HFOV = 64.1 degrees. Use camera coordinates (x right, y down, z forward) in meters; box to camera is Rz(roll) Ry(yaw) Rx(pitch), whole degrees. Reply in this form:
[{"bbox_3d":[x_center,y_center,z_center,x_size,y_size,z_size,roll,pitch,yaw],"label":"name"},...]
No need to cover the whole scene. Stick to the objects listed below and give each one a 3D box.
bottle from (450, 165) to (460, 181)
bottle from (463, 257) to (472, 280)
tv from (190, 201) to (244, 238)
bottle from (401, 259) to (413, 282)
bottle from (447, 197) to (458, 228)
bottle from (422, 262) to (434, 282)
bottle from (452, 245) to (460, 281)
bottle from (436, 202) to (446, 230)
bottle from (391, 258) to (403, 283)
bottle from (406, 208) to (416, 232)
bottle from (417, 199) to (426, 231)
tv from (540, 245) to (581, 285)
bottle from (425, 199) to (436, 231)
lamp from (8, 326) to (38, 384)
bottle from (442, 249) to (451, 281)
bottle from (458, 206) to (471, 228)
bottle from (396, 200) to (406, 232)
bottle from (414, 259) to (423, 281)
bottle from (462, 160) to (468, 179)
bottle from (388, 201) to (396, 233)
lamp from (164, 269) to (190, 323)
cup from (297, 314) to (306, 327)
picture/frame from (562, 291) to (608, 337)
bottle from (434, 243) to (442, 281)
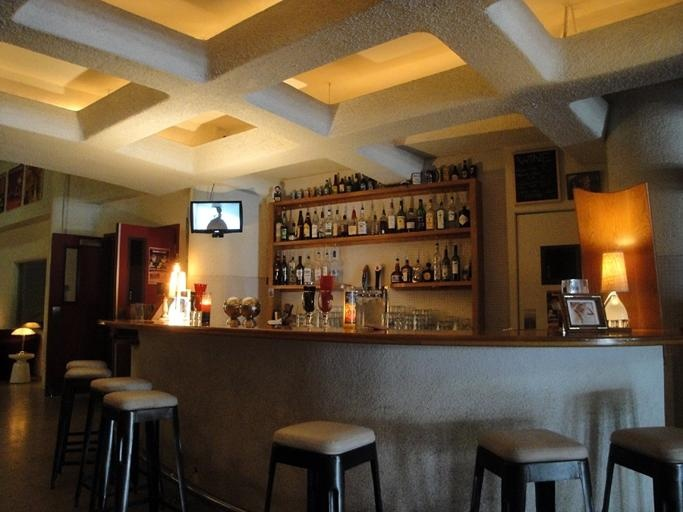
[{"bbox_3d":[1.416,-1.043,6.755,0.131,0.222,0.229,-2,-5,12],"label":"bottle"},{"bbox_3d":[1.515,0.150,6.539,0.100,0.271,0.222,-2,-5,13],"label":"bottle"},{"bbox_3d":[-1.697,-0.524,7.412,0.549,0.395,0.057,0,-1,3],"label":"tv"},{"bbox_3d":[0.837,0.168,6.907,0.146,0.301,0.243,-2,-5,7],"label":"bottle"},{"bbox_3d":[1.362,-0.550,6.651,0.121,0.415,0.163,-2,-6,9],"label":"bottle"},{"bbox_3d":[1.061,0.186,6.743,0.147,0.253,0.264,-3,-6,20],"label":"bottle"},{"bbox_3d":[1.396,0.060,6.613,0.106,0.441,0.181,-3,-6,14],"label":"bottle"},{"bbox_3d":[1.218,-0.502,6.659,0.120,0.381,0.254,-2,-5,9],"label":"bottle"},{"bbox_3d":[0.713,0.178,6.957,0.147,0.339,0.337,-2,-5,5],"label":"bottle"},{"bbox_3d":[0.887,-0.469,6.881,0.136,0.320,0.204,-2,-5,7],"label":"bottle"},{"bbox_3d":[1.009,-0.532,6.857,0.106,0.403,0.179,-2,-6,10],"label":"bottle"},{"bbox_3d":[2.473,0.091,6.105,0.428,0.303,0.224,-6,-7,31],"label":"tv"},{"bbox_3d":[1.104,-0.521,6.741,0.113,0.415,0.273,-2,-5,10],"label":"bottle"},{"bbox_3d":[-5.558,1.684,9.527,0.386,0.971,0.830,2,-6,-30],"label":"lamp"},{"bbox_3d":[1.283,0.076,6.647,0.109,0.431,0.241,-2,-6,11],"label":"bottle"},{"bbox_3d":[1.476,-0.480,6.565,0.125,0.270,0.150,-1,-5,1],"label":"bottle"},{"bbox_3d":[0.771,-0.522,6.959,0.130,0.430,0.164,0,-6,-11],"label":"bottle"},{"bbox_3d":[0.969,0.159,6.846,0.110,0.296,0.220,-2,-5,7],"label":"bottle"},{"bbox_3d":[1.519,-1.072,6.695,0.072,0.248,0.147,-2,-6,13],"label":"bottle"},{"bbox_3d":[0.653,-0.516,7.015,0.102,0.414,0.195,-2,-5,5],"label":"bottle"},{"bbox_3d":[-1.645,0.357,5.485,0.261,0.615,0.841,1,-6,-17],"label":"lamp"},{"bbox_3d":[-0.413,0.662,5.669,0.110,0.146,0.082,-4,-8,33],"label":"cup"},{"bbox_3d":[1.693,0.407,3.815,0.288,0.240,0.030,7,-26,-10],"label":"picture/frame"},{"bbox_3d":[1.187,0.052,6.722,0.107,0.485,0.247,-2,-6,10],"label":"bottle"}]
